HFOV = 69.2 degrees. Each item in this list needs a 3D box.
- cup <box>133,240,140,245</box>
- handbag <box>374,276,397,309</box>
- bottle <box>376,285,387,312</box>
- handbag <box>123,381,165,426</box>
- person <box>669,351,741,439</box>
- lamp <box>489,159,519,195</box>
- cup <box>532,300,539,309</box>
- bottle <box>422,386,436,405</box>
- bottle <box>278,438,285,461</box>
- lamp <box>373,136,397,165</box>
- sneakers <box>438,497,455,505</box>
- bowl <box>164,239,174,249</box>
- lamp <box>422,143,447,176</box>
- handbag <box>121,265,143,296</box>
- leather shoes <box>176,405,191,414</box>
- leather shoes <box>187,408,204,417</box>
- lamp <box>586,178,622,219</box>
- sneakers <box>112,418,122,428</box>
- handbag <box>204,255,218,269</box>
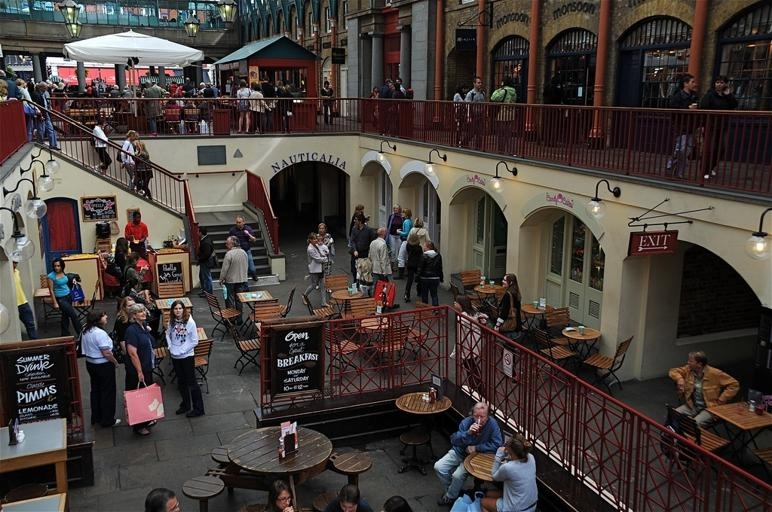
[{"bbox_3d":[-8.076,-0.429,18.205,0.197,0.102,0.115,-6,11,-20],"label":"cup"},{"bbox_3d":[-0.037,1.004,14.675,0.831,0.932,0.396,1,6,22],"label":"handbag"},{"bbox_3d":[-0.181,1.047,13.808,0.216,0.590,0.415,8,6,-29],"label":"bottle"},{"bbox_3d":[-4.639,2.854,10.692,0.721,0.872,0.297,-12,21,-27],"label":"handbag"},{"bbox_3d":[5.805,2.478,10.306,1.014,1.368,0.487,4,13,31],"label":"person"},{"bbox_3d":[3.204,-2.157,15.277,0.329,0.836,0.854,-8,12,-28],"label":"lamp"},{"bbox_3d":[3.891,1.273,14.495,0.182,0.232,0.189,0,4,0],"label":"cup"},{"bbox_3d":[0.844,2.620,10.595,0.278,0.291,0.198,4,4,17],"label":"bottle"},{"bbox_3d":[-1.676,3.123,9.040,0.102,0.315,0.156,-4,11,-9],"label":"bottle"},{"bbox_3d":[0.174,-4.063,21.078,1.095,1.118,0.447,-3,10,-19],"label":"lamp"},{"bbox_3d":[1.000,4.153,9.504,0.319,0.136,0.123,2,13,-7],"label":"sneakers"},{"bbox_3d":[-7.362,-0.373,18.916,0.319,0.315,0.250,-11,7,-21],"label":"bowl"},{"bbox_3d":[1.581,-3.035,17.957,0.253,0.775,0.989,-8,12,-27],"label":"lamp"},{"bbox_3d":[-6.577,0.648,14.474,0.255,0.274,0.825,-24,-18,-38],"label":"handbag"},{"bbox_3d":[-4.212,3.199,11.620,0.115,0.130,0.296,0,-3,34],"label":"leather shoes"},{"bbox_3d":[-3.937,3.229,11.574,0.326,0.139,0.159,3,9,-14],"label":"leather shoes"},{"bbox_3d":[4.745,-1.256,12.108,0.625,0.718,1.683,3,12,24],"label":"lamp"},{"bbox_3d":[-5.395,3.349,11.211,0.078,0.073,0.189,-30,3,18],"label":"sneakers"},{"bbox_3d":[-5.221,0.160,16.797,0.214,0.455,0.593,-2,11,0],"label":"handbag"}]
